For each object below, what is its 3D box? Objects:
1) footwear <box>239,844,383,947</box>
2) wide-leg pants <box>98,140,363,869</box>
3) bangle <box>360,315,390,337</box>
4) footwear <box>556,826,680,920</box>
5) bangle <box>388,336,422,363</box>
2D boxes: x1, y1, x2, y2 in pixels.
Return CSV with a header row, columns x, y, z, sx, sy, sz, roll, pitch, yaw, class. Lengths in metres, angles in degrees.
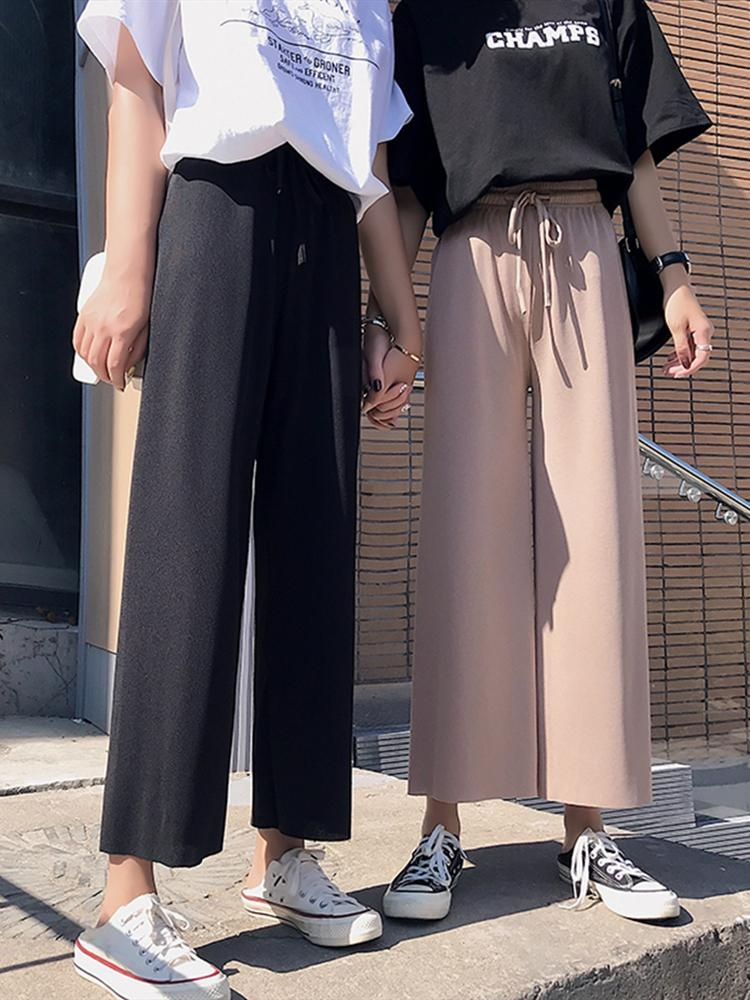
x,y,z,sx,sy,sz,roll,pitch,yaw,class
-0.097,0.553,1.364,0.262,0.106,0.091,-7,-6,42,footwear
-0.166,-0.021,1.284,0.317,0.941,0.116,6,-6,-41,wide-leg pants
-0.003,-0.294,1.604,0.051,0.025,0.040,12,18,37,bangle
0.365,0.569,1.493,0.106,0.101,0.239,-3,0,-30,footwear
0.048,-0.236,1.553,0.047,0.014,0.039,36,-9,-9,bangle
